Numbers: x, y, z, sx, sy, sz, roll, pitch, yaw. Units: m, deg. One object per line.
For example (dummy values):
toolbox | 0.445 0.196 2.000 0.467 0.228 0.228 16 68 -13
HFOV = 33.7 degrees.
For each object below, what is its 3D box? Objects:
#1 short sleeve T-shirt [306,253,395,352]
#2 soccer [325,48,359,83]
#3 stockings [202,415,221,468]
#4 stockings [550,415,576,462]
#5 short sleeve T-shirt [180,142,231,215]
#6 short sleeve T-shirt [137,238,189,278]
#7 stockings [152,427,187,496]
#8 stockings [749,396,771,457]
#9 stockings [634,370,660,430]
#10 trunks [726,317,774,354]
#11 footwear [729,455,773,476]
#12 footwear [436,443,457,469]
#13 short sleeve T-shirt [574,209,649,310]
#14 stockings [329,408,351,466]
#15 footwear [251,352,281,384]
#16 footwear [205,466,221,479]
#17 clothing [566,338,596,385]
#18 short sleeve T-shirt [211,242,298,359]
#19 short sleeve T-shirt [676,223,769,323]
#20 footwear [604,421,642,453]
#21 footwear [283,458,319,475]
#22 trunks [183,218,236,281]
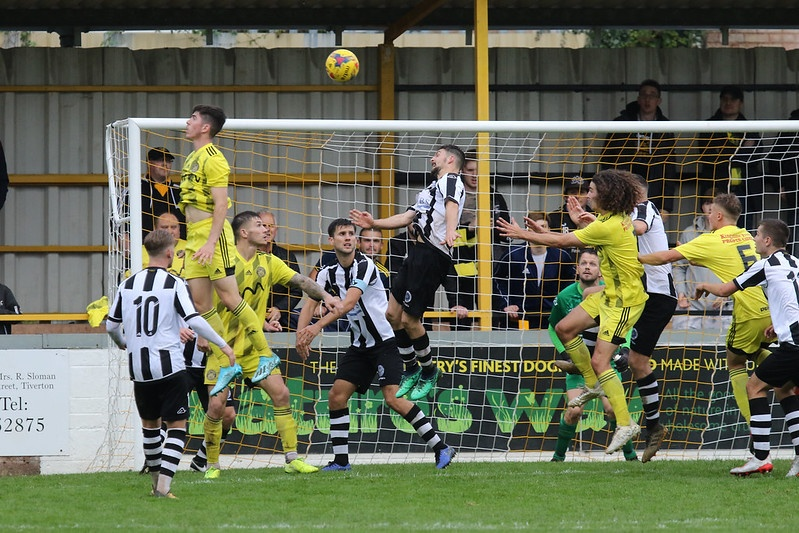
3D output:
short sleeve T-shirt | -0.514 0.398 15.801 0.838 1.120 0.411 -2 -2 35
soccer | -0.758 -2.683 17.489 0.374 0.406 0.248 -2 -3 36
stockings | -2.200 2.063 15.634 0.204 0.598 0.292 -1 -2 -8
stockings | 2.078 2.139 16.468 0.307 0.552 0.463 -1 -2 6
short sleeve T-shirt | -2.280 -1.030 15.234 0.634 0.791 0.195 -1 -2 16
short sleeve T-shirt | -2.689 -0.092 14.993 0.559 0.457 0.271 0 1 -5
stockings | -2.490 2.112 14.338 0.296 0.745 0.368 1 -3 -42
stockings | 4.135 1.826 15.004 0.222 0.704 0.244 -1 -2 12
stockings | 2.940 1.573 15.455 0.240 0.655 0.288 -1 -2 8
trunks | 4.089 0.783 15.541 0.665 0.476 0.403 -4 12 -16
footwear | 4.045 2.283 15.022 0.569 0.226 0.191 -1 -4 4
footwear | 0.565 2.269 15.760 0.177 0.330 0.126 30 2 -17
short sleeve T-shirt | 2.475 -0.072 15.180 0.779 1.062 0.296 -1 -2 6
stockings | -0.700 2.017 15.666 0.214 0.695 0.264 -1 -2 -4
footwear | -1.552 1.188 15.303 0.313 0.337 0.335 -1 -2 -8
footwear | -2.177 2.419 15.438 0.154 0.149 0.115 -4 32 -25
clothing | 2.163 1.127 15.539 0.378 0.608 0.324 -1 -2 7
short sleeve T-shirt | -1.768 0.426 15.836 1.506 1.517 0.387 7 -19 -24
short sleeve T-shirt | 3.861 -0.045 15.299 0.855 1.325 0.476 -25 23 24
footwear | 2.622 1.957 15.231 0.365 0.362 0.610 -1 -2 15
footwear | -1.155 2.341 15.423 0.462 0.183 0.157 0 -1 9
trunks | -2.178 -0.182 15.179 0.712 0.641 0.455 -5 -10 35
